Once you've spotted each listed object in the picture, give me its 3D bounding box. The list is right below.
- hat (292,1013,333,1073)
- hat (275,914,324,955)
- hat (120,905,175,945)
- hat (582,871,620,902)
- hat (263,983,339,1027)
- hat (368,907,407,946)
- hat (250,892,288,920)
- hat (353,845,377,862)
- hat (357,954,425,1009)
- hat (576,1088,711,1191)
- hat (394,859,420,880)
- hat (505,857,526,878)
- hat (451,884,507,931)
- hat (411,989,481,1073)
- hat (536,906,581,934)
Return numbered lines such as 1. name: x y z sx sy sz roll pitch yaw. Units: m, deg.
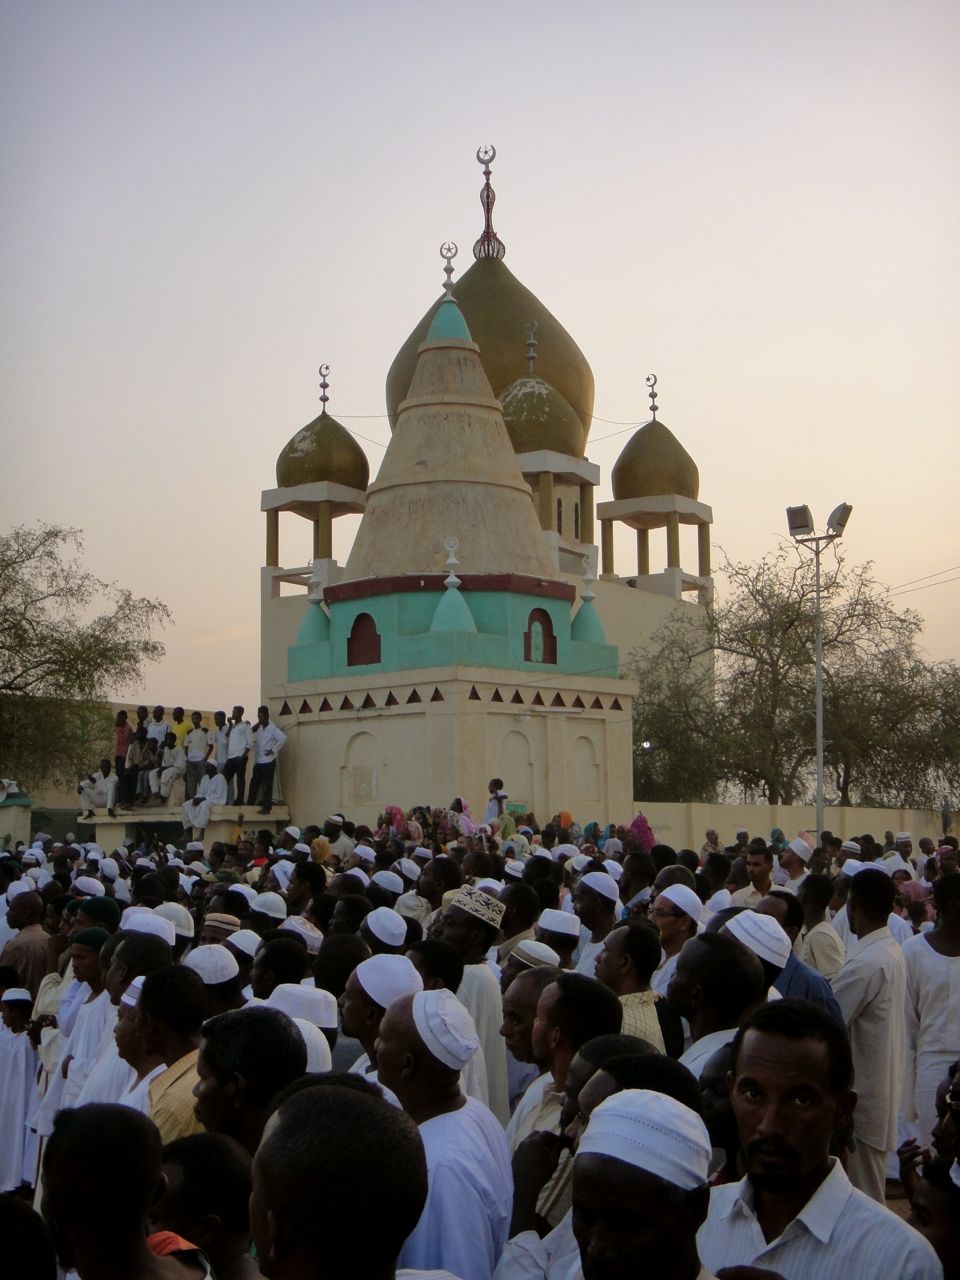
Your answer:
1. hat: -0.463 1.116 4.644 0.107 0.141 0.421 3 -8 -5
2. hat: -0.752 1.241 7.036 0.229 0.078 0.161 38 -9 -25
3. hat: -1.301 1.123 6.633 0.222 0.095 0.298 17 -9 -16
4. hat: 0.573 1.130 7.704 0.159 0.054 0.155 27 2 -3
5. hat: -0.557 1.135 5.311 0.148 0.073 0.205 20 -5 -27
6. hat: -0.366 1.136 6.697 0.119 0.047 0.159 10 14 -28
7. hat: -1.015 1.271 8.031 0.161 0.079 0.118 17 4 21
8. hat: -0.892 1.678 13.182 0.120 0.154 0.163 3 2 10
9. hat: -0.263 1.030 4.940 0.176 0.081 0.174 -12 26 -44
10. hat: 0.288 0.888 2.982 0.226 0.151 0.175 0 -8 10
11. hat: -0.475 1.491 10.869 0.138 0.171 0.163 5 0 24
12. hat: 0.254 1.515 10.978 0.121 0.128 0.142 11 33 -3
13. hat: -0.024 1.080 6.651 0.185 0.095 0.181 29 6 6
14. hat: -0.109 0.959 4.190 0.058 0.186 0.187 -34 -28 25
15. hat: 0.339 1.176 6.976 0.127 0.064 0.123 18 -3 3
